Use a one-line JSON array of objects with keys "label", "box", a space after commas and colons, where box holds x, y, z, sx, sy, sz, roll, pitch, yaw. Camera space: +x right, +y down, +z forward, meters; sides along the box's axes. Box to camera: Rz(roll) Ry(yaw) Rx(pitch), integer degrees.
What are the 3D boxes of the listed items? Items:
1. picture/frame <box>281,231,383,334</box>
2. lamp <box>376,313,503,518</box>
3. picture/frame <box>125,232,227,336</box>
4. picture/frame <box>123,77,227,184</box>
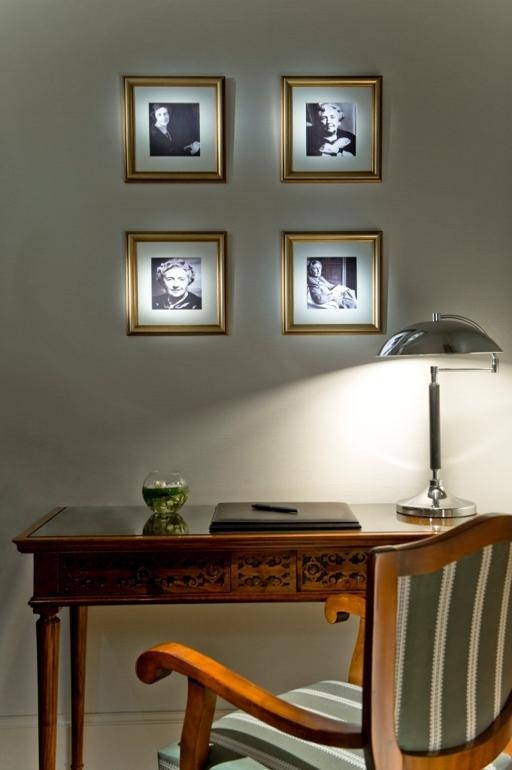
[{"label": "picture/frame", "box": [0.215, -0.305, 2.072, 0.308, 0.023, 0.298, -1, -91, -3]}, {"label": "lamp", "box": [0.467, 0.080, 1.823, 0.320, 0.302, 0.515, -2, -92, 16]}, {"label": "picture/frame", "box": [-0.229, -0.295, 2.057, 0.288, 0.095, 0.285, 0, -72, -2]}, {"label": "picture/frame", "box": [-0.242, -0.748, 2.051, 0.318, 0.022, 0.308, 0, -88, -5]}]
